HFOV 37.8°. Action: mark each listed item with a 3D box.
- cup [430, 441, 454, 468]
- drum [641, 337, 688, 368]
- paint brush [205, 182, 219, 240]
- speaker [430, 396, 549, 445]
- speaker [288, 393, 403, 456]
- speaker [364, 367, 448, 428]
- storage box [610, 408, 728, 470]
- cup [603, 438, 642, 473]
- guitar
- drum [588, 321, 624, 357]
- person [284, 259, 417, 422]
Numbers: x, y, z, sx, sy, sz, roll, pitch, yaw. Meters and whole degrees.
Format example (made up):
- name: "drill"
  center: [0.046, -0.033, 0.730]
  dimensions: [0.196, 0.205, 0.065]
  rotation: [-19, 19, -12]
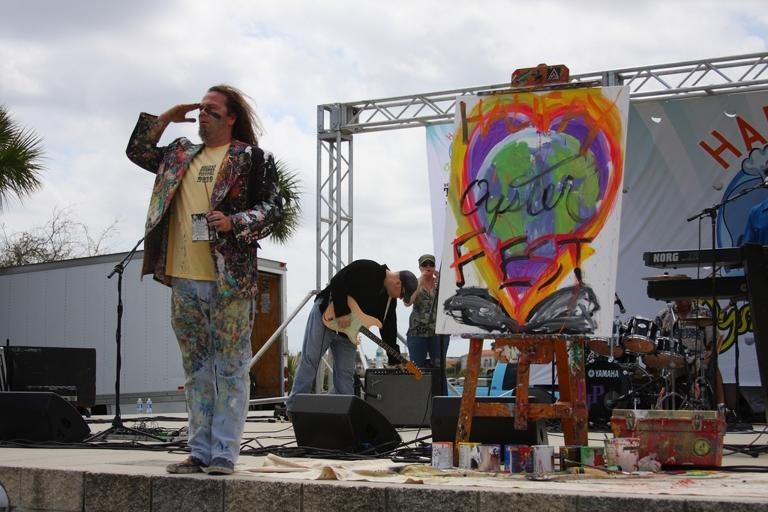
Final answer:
- name: "cup"
  center: [0.539, 1.865, 10.411]
  dimensions: [0.211, 0.236, 0.160]
  rotation: [-1, -10, 1]
- name: "drum"
  center: [3.568, 1.251, 14.141]
  dimensions: [0.410, 0.173, 0.409]
  rotation: [12, -5, 1]
- name: "paint brush"
  center: [-1.585, -0.411, 10.229]
  dimensions: [0.111, 0.549, 0.160]
  rotation: [1, -10, -9]
- name: "speaker"
  center: [0.931, 1.919, 11.093]
  dimensions: [0.939, 0.644, 0.515]
  rotation: [-1, -15, 11]
- name: "speaker"
  center: [-0.411, 1.690, 11.153]
  dimensions: [0.792, 0.565, 0.646]
  rotation: [-4, 3, 37]
- name: "speaker"
  center: [0.239, 1.716, 13.629]
  dimensions: [0.640, 0.673, 1.117]
  rotation: [1, 0, 1]
- name: "storage box"
  center: [2.728, 1.752, 10.569]
  dimensions: [1.213, 0.504, 0.491]
  rotation: [-4, 0, -6]
- name: "cup"
  center: [2.191, 1.847, 10.312]
  dimensions: [0.300, 0.331, 0.287]
  rotation: [2, -11, 0]
- name: "guitar"
  center: [-0.136, 0.914, 12.458]
  dimensions: [1.276, 0.461, 0.187]
  rotation: [31, 13, -1]
- name: "drum"
  center: [2.790, 1.057, 14.183]
  dimensions: [0.447, 0.523, 1.656]
  rotation: [-2, -11, 11]
- name: "person"
  center: [-0.389, 0.865, 12.567]
  dimensions: [1.323, 1.875, 1.129]
  rotation: [3, -3, -26]
